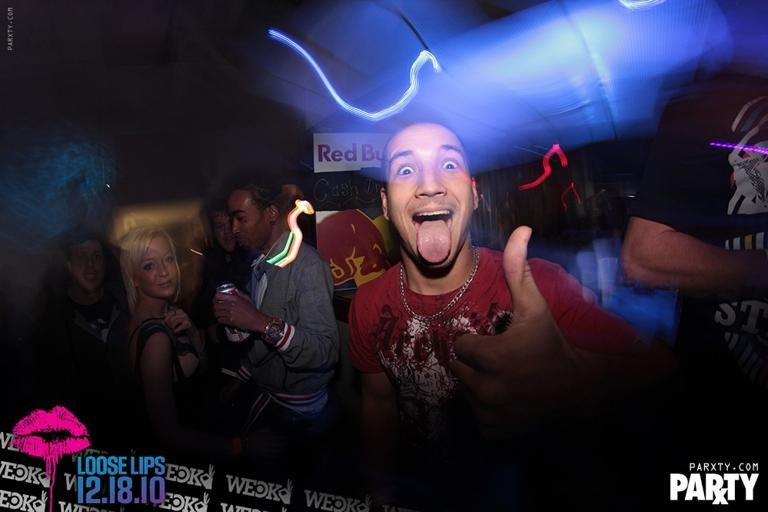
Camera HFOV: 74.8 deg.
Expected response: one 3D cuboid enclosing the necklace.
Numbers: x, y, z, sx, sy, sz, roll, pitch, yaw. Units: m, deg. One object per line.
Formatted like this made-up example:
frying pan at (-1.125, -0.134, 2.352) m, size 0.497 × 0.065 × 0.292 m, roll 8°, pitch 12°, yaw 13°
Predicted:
necklace at (0.413, 0.241, 3.697) m, size 0.476 × 0.604 × 0.071 m, roll -3°, pitch -7°, yaw 24°
